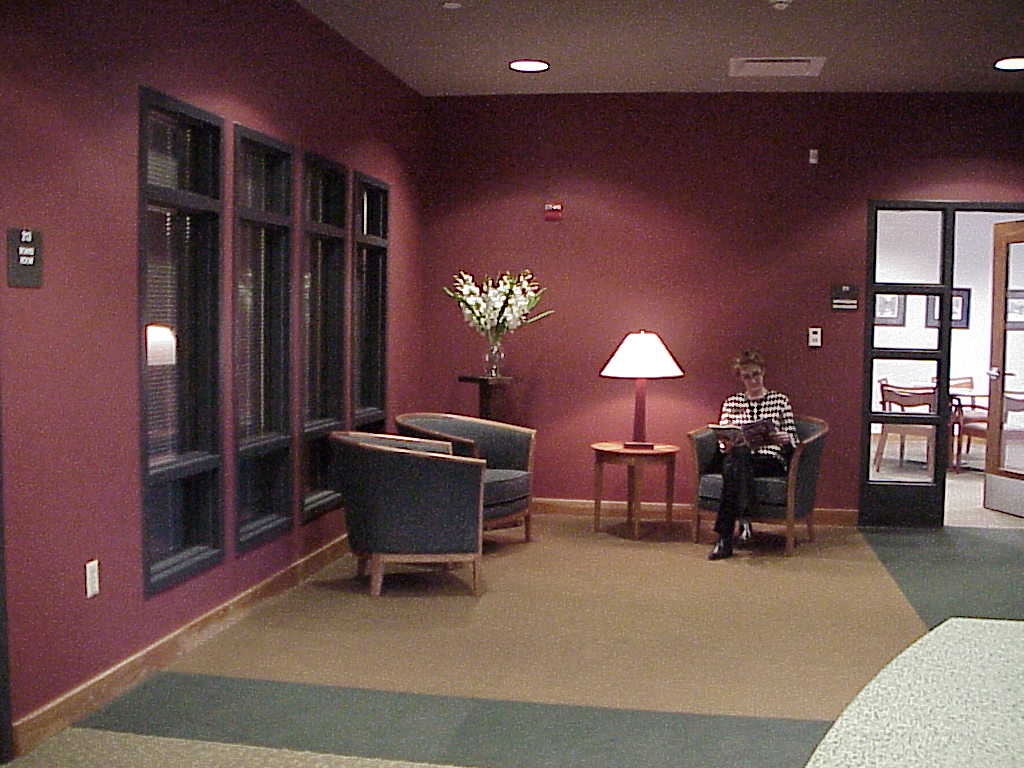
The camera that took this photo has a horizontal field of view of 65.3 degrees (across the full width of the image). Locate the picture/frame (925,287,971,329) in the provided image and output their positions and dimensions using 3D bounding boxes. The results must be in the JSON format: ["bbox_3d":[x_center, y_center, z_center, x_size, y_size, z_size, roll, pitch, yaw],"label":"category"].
[{"bbox_3d":[5.498,-0.948,10.082,0.707,0.522,0.273,-3,6,-36],"label":"picture/frame"}]

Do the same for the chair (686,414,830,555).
[{"bbox_3d":[1.664,0.667,5.512,0.921,1.037,1.045,4,-4,5],"label":"chair"}]

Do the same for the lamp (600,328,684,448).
[{"bbox_3d":[0.919,0.018,5.984,0.667,0.964,0.778,1,2,24],"label":"lamp"}]

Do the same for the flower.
[{"bbox_3d":[-0.138,-0.521,5.919,0.615,0.649,0.680,0,3,2],"label":"flower"}]

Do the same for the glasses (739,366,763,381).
[{"bbox_3d":[1.633,-0.064,5.447,0.086,0.066,0.112,-2,-9,14],"label":"glasses"}]

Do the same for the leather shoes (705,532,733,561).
[{"bbox_3d":[1.346,1.071,5.189,0.100,0.201,0.267,-4,-9,42],"label":"leather shoes"}]

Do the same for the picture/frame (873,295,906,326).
[{"bbox_3d":[4.724,-0.900,9.945,0.336,0.380,0.583,3,6,27],"label":"picture/frame"}]

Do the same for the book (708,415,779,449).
[{"bbox_3d":[1.524,0.326,5.191,0.469,0.190,0.163,-1,5,-16],"label":"book"}]

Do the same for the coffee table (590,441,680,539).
[{"bbox_3d":[0.887,0.740,5.761,0.569,0.664,0.783,1,5,11],"label":"coffee table"}]

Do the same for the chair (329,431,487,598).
[{"bbox_3d":[-0.545,0.624,4.543,0.901,0.905,0.930,6,13,15],"label":"chair"}]

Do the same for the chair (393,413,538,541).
[{"bbox_3d":[-0.324,0.621,5.266,0.800,0.878,0.847,-4,-1,24],"label":"chair"}]

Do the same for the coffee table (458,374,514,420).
[{"bbox_3d":[-0.145,0.088,6.012,0.345,0.385,0.356,-1,0,41],"label":"coffee table"}]
